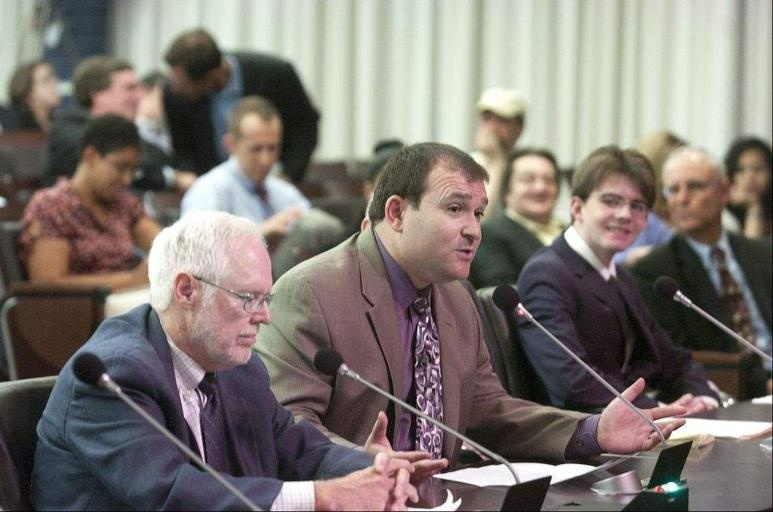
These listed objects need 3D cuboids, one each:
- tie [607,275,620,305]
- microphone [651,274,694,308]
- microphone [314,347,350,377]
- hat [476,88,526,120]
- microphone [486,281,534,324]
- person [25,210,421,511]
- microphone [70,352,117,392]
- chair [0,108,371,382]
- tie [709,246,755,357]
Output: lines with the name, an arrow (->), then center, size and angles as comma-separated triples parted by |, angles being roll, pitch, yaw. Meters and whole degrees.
tie -> 1.054, 0.159, 4.781 | 0.035, 0.109, 0.087 | -6, 0, 18
microphone -> 1.379, 0.176, 5.014 | 0.173, 0.076, 0.074 | 29, -23, -1
microphone -> -0.201, 0.389, 3.814 | 0.107, 0.084, 0.084 | 24, -35, 7
hat -> 0.875, -1.153, 7.832 | 0.321, 0.242, 0.302 | 0, 2, -2
microphone -> 0.541, 0.210, 4.490 | 0.194, 0.060, 0.058 | 48, 23, 11
person -> -0.585, 0.362, 3.562 | 1.221, 1.024, 0.541 | -1, 3, -21
microphone -> -0.968, 0.386, 3.452 | 0.180, 0.084, 0.080 | 34, -37, 10
chair -> -1.440, -0.072, 6.617 | 1.128, 2.364, 1.077 | -6, -4, 31
tie -> 1.874, 0.267, 5.631 | 0.078, 0.603, 0.086 | -17, -6, 8
